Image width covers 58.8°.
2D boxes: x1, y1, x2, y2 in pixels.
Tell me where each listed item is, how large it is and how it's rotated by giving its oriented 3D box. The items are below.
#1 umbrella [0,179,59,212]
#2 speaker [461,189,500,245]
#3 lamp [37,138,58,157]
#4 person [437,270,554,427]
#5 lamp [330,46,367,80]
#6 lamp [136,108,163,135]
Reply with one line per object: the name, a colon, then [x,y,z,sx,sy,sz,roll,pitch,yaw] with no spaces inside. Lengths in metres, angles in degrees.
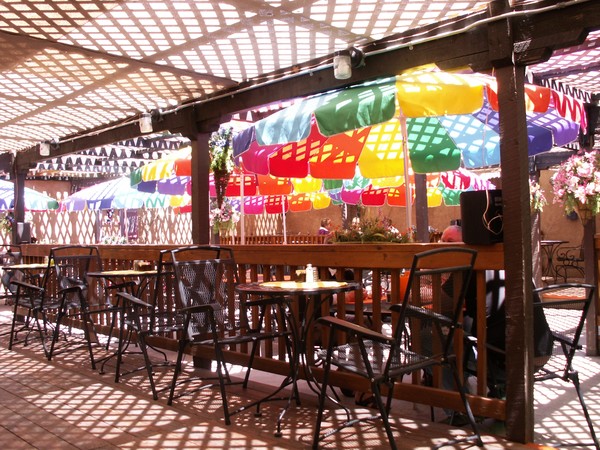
umbrella: [-5.972,-0.563,11.669,1.109,0.376,1.112,8,-3,-19]
speaker: [1.338,-0.052,3.927,0.202,0.377,0.393,-2,-2,36]
lamp: [-3.916,-1.170,8.243,0.224,0.382,0.401,0,1,-33]
person: [1.616,1.065,4.625,1.009,1.530,1.196,-3,-18,15]
lamp: [0.427,-1.408,4.730,0.301,0.293,0.212,3,-2,-41]
lamp: [-1.864,-1.247,6.468,0.222,0.375,0.356,3,3,36]
